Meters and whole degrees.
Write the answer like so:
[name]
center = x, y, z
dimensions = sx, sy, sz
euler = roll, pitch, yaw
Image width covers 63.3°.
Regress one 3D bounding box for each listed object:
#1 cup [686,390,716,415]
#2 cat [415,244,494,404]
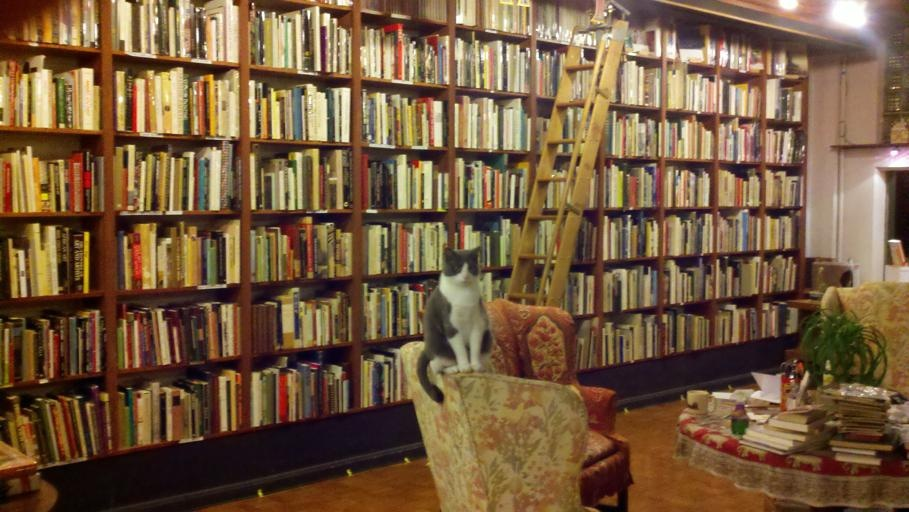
[cup]
center = 1.759, 1.040, 5.239
dimensions = 0.222, 0.138, 0.136
euler = 3, -4, -23
[cat]
center = -0.053, 0.407, 4.485
dimensions = 0.350, 0.870, 0.502
euler = 0, 4, 26
